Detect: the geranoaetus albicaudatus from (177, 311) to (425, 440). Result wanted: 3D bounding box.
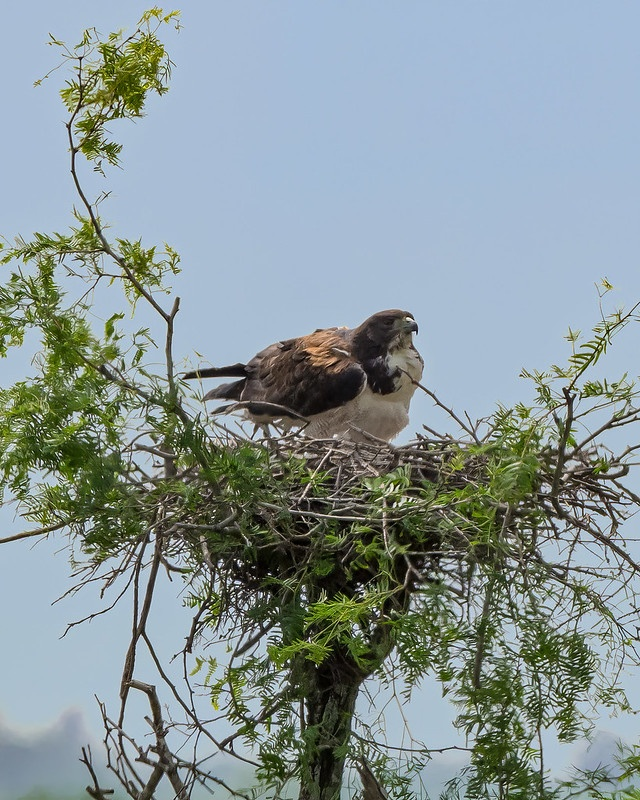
[{"bbox_3d":[-0.044,-0.037,3.686,0.564,0.330,0.293,0,-15,11],"label":"geranoaetus albicaudatus"}]
